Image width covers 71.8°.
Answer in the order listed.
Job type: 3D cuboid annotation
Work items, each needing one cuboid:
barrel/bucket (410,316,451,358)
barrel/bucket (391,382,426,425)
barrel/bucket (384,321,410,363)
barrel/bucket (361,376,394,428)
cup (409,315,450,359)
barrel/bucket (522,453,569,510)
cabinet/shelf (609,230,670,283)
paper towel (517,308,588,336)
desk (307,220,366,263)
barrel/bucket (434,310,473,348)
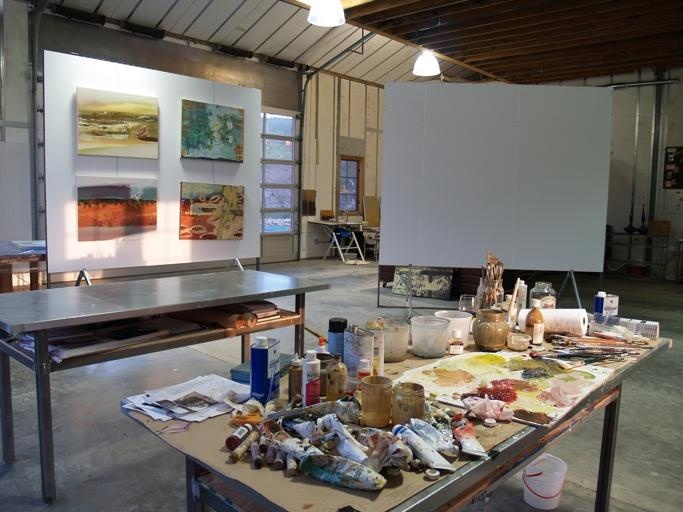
[{"bbox_3d":[0.418,0.387,2.285,0.203,0.145,0.202,-1,2,0],"label":"barrel/bucket"},{"bbox_3d":[0.227,0.515,1.632,0.137,0.129,0.127,0,2,0],"label":"barrel/bucket"},{"bbox_3d":[0.249,0.407,2.297,0.157,0.131,0.176,-1,0,3],"label":"barrel/bucket"},{"bbox_3d":[0.124,0.517,1.680,0.113,0.149,0.111,2,11,0],"label":"barrel/bucket"},{"bbox_3d":[0.427,0.390,2.359,0.174,0.202,0.170,5,4,0],"label":"cup"},{"bbox_3d":[1.132,1.249,2.633,0.209,0.225,0.244,7,12,26],"label":"barrel/bucket"},{"bbox_3d":[6.863,0.010,10.729,0.478,0.942,1.246,-3,4,-39],"label":"cabinet/shelf"},{"bbox_3d":[1.198,0.336,2.699,0.332,0.140,0.368,0,5,-38],"label":"paper towel"},{"bbox_3d":[0.112,-0.419,11.985,1.059,1.003,1.420,12,15,43],"label":"desk"},{"bbox_3d":[0.600,0.387,2.500,0.183,0.130,0.189,1,2,0],"label":"barrel/bucket"}]
